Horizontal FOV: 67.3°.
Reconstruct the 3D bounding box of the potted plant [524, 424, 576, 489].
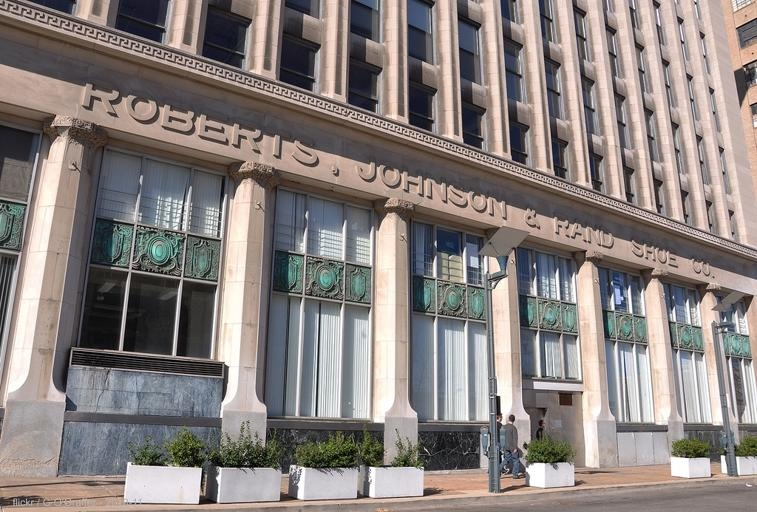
[{"bbox_3d":[6.475,7.733,21.644,1.698,2.020,1.665,8,-16,-29],"label":"potted plant"}]
